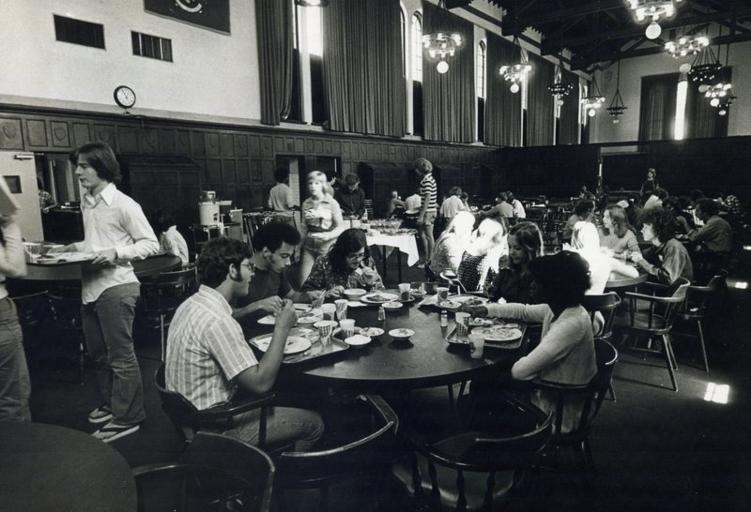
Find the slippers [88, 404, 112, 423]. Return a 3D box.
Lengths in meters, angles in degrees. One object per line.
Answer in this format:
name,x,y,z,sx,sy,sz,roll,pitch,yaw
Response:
slippers,-2.760,1.581,6.288,0.135,0.104,0.247,1,-5,3

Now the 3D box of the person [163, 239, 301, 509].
person,-1.168,0.912,5.504,1.242,2.082,1.148,-2,10,-27

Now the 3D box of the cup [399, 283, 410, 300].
cup,0.279,0.360,6.214,0.126,0.144,0.138,0,0,0

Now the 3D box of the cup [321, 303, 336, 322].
cup,-0.431,0.523,5.766,0.127,0.138,0.128,2,12,0

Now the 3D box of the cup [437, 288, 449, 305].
cup,0.642,0.398,6.079,0.131,0.127,0.126,0,0,0

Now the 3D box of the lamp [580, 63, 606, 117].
lamp,6.516,-5.080,18.699,0.620,1.250,0.625,-17,20,-30

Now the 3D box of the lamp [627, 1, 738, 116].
lamp,9.050,-5.732,18.194,1.446,1.413,4.699,-5,10,14

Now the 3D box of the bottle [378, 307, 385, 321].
bottle,0.057,0.529,5.857,0.070,0.115,0.164,-2,9,1

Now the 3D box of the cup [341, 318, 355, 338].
cup,-0.251,0.629,5.482,0.139,0.138,0.136,-3,1,0

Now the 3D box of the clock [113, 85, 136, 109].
clock,-3.871,-2.440,9.603,0.114,0.392,0.393,-2,1,24

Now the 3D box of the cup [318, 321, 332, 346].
cup,-0.434,0.663,5.371,0.189,0.208,0.178,0,-2,0

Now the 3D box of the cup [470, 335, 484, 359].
cup,0.842,0.772,5.253,0.167,0.168,0.168,-1,-2,0

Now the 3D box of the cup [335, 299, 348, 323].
cup,-0.321,0.495,5.799,0.166,0.190,0.161,-2,-11,0

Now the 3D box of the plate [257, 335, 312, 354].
plate,-0.724,0.756,5.368,0.211,0.032,0.230,8,12,37

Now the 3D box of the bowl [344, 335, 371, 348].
bowl,-0.151,0.744,5.414,0.235,0.082,0.147,-3,9,-2

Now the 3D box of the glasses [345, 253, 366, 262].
glasses,-0.220,0.028,6.449,0.122,0.042,0.125,-10,7,-37
